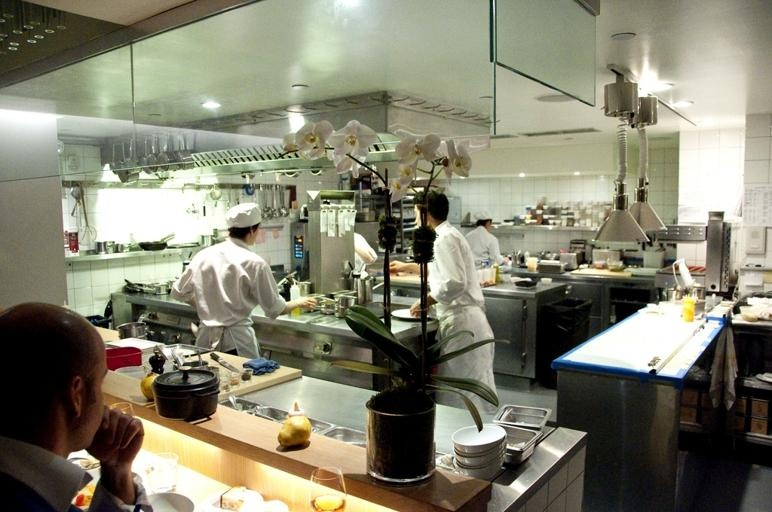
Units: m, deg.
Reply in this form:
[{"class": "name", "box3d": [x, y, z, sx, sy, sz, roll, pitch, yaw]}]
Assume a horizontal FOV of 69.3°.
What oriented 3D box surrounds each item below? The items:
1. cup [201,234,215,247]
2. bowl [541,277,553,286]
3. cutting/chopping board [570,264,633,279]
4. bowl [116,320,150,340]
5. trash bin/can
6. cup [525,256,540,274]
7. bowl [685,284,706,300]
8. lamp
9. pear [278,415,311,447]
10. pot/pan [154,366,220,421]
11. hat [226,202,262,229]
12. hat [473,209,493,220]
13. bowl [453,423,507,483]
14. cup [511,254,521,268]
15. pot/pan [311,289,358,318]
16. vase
[{"class": "cup", "box3d": [-2.132, -0.185, 6.721, 0.152, 0.134, 0.143, 1, 8, 0]}, {"class": "bowl", "box3d": [1.890, 0.298, 6.526, 0.108, 0.053, 0.110, 0, -4, 0]}, {"class": "cutting/chopping board", "box3d": [2.958, 0.222, 7.529, 0.815, 0.079, 0.586, 4, 10, 42]}, {"class": "bowl", "box3d": [-1.690, 0.491, 3.746, 0.190, 0.120, 0.140, 2, -4, -35]}, {"class": "trash bin/can", "box3d": [1.934, 0.954, 6.130, 0.395, 0.887, 0.750, 4, 11, 40]}, {"class": "cup", "box3d": [2.073, 0.118, 7.784, 0.147, 0.200, 0.252, -1, 8, 17]}, {"class": "bowl", "box3d": [2.955, 0.336, 5.269, 0.148, 0.142, 0.150, 0, 4, 0]}, {"class": "lamp", "box3d": [1.839, -0.683, 4.174, 0.450, 1.258, 1.405, 0, 9, 25]}, {"class": "pear", "box3d": [-0.365, 0.705, 2.257, 0.107, 0.114, 0.136, 2, 10, 35]}, {"class": "pot/pan", "box3d": [-0.867, 0.602, 2.455, 0.214, 0.123, 0.258, -1, 1, -36]}, {"class": "hat", "box3d": [-1.048, -0.284, 4.037, 0.214, 0.111, 0.206, -5, 3, -38]}, {"class": "hat", "box3d": [1.495, -0.631, 8.402, 0.305, 0.110, 0.338, 2, 9, 14]}, {"class": "bowl", "box3d": [0.380, 0.774, 2.264, 0.245, 0.138, 0.254, -4, -5, 0]}, {"class": "cup", "box3d": [1.916, 0.067, 8.095, 0.189, 0.167, 0.134, 1, 1, 2]}, {"class": "pot/pan", "box3d": [-0.409, 0.384, 4.547, 0.416, 0.158, 0.300, -1, 4, -30]}, {"class": "vase", "box3d": [0.058, 0.648, 2.045, 0.309, 0.291, 0.323, 0, -1, 0]}]
